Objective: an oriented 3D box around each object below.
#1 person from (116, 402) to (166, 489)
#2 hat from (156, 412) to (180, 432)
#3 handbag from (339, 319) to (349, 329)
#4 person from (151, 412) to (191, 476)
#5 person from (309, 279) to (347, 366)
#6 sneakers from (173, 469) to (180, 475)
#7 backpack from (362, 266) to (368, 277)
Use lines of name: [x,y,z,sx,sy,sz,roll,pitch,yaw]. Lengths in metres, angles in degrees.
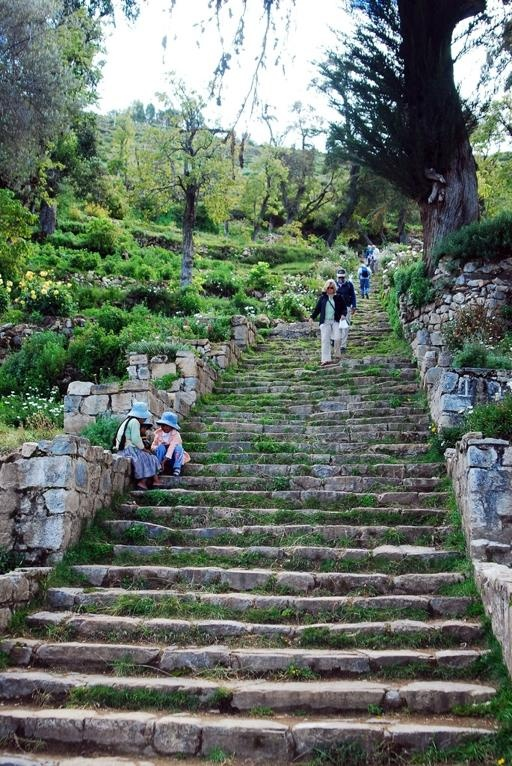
person: [-1.322,0.711,8.821,0.483,0.954,0.356,-4,3,-19]
hat: [-1.039,0.452,9.288,0.245,0.143,0.221,19,2,0]
handbag: [1.532,-1.014,13.484,0.113,0.228,0.143,2,-8,-17]
person: [-1.039,0.750,9.261,0.494,0.809,0.671,-3,-1,3]
person: [1.261,-1.009,13.661,0.550,1.452,1.633,1,-4,5]
sneakers: [-0.926,1.040,9.090,0.080,0.076,0.161,1,-5,-7]
backpack: [2.992,-3.040,21.468,0.143,0.261,0.482,1,-5,5]
